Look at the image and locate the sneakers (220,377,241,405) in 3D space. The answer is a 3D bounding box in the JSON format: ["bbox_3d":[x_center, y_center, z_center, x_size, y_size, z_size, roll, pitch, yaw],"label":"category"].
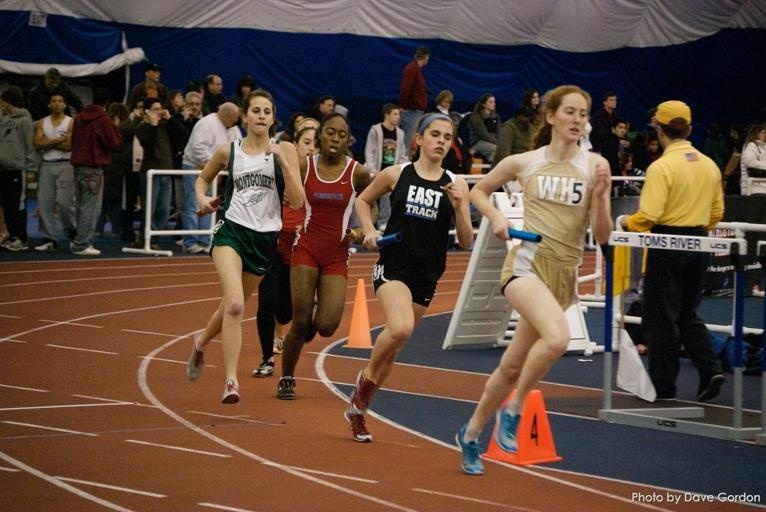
[{"bbox_3d":[-1.333,1.189,6.143,0.122,0.194,0.166,2,6,-4],"label":"sneakers"}]

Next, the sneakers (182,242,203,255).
[{"bbox_3d":[-4.213,-0.172,15.611,0.540,0.221,0.207,-5,-3,29],"label":"sneakers"}]

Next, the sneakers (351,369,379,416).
[{"bbox_3d":[-0.158,1.128,5.804,0.223,0.359,0.220,2,5,-2],"label":"sneakers"}]

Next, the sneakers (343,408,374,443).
[{"bbox_3d":[-0.190,1.379,5.784,0.232,0.279,0.221,3,6,10],"label":"sneakers"}]

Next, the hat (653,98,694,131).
[{"bbox_3d":[3.070,-1.501,7.381,0.315,0.284,0.308,6,7,31],"label":"hat"}]

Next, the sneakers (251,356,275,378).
[{"bbox_3d":[-1.334,1.211,7.788,0.242,0.197,0.277,1,6,-11],"label":"sneakers"}]

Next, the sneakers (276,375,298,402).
[{"bbox_3d":[-0.957,1.282,6.885,0.192,0.226,0.182,2,6,-8],"label":"sneakers"}]

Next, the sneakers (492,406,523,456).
[{"bbox_3d":[0.913,1.259,5.145,0.172,0.323,0.157,3,5,9],"label":"sneakers"}]

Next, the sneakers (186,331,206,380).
[{"bbox_3d":[-1.899,1.027,7.056,0.169,0.507,0.206,-2,11,-29],"label":"sneakers"}]
